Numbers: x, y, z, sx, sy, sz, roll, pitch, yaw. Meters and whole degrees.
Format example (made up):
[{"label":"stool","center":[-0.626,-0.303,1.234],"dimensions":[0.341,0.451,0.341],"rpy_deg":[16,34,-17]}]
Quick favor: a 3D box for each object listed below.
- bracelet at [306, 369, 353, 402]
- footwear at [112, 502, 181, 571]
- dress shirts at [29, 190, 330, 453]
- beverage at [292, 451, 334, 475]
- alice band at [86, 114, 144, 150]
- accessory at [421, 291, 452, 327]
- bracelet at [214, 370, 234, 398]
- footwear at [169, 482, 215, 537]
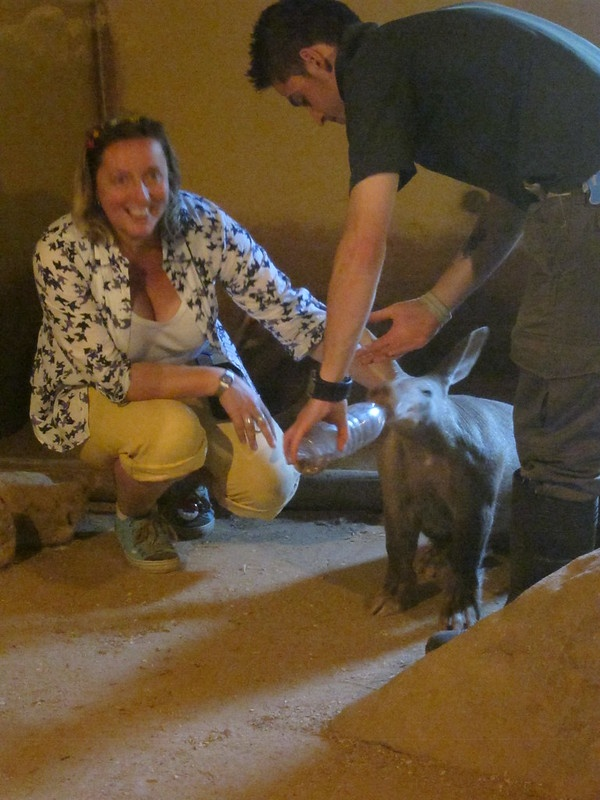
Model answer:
[{"label":"bracelet","center":[0.088,-0.027,2.093],"dimensions":[0.110,0.053,0.090],"rpy_deg":[3,26,-10]},{"label":"footwear","center":[-0.571,0.534,3.021],"dimensions":[0.154,0.115,0.357],"rpy_deg":[-10,14,-36]},{"label":"dress shirts","center":[-0.406,-0.284,2.781],"dimensions":[1.101,0.701,0.795],"rpy_deg":[-14,32,-25]},{"label":"beverage","center":[0.037,0.180,2.279],"dimensions":[0.083,0.047,0.092],"rpy_deg":[0,0,-41]},{"label":"alice band","center":[-0.571,-0.817,2.410],"dimensions":[0.143,0.030,0.109],"rpy_deg":[-19,-6,41]},{"label":"accessory","center":[0.430,-0.280,2.454],"dimensions":[0.094,0.060,0.115],"rpy_deg":[48,-6,-33]},{"label":"bracelet","center":[-0.249,-0.051,2.608],"dimensions":[0.054,0.064,0.077],"rpy_deg":[34,27,10]},{"label":"footwear","center":[-0.472,0.453,3.515],"dimensions":[0.189,0.135,0.372],"rpy_deg":[-4,24,-3]}]
